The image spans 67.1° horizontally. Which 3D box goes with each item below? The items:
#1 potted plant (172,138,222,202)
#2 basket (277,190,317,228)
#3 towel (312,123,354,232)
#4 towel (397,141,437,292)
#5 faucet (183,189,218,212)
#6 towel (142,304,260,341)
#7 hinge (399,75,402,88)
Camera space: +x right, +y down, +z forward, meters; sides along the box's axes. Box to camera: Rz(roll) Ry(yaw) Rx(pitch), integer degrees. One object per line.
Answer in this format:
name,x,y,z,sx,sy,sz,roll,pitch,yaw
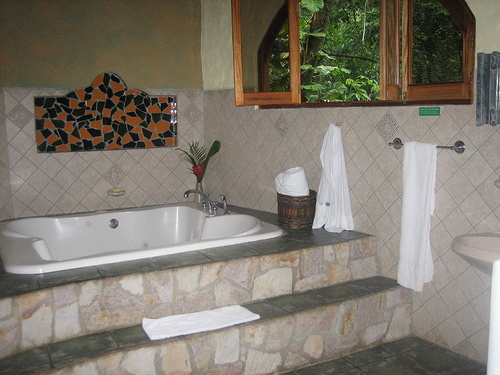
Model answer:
potted plant,-0.544,-0.210,4.152,0.415,0.641,0.588,-8,9,-35
basket,0.371,0.158,3.246,0.341,0.272,0.347,-5,9,-33
towel,0.651,-0.069,2.990,0.326,0.848,0.143,-1,7,9
towel,1.091,0.181,2.480,0.171,1.115,0.328,-5,8,-36
faucet,-0.509,0.100,3.685,0.151,0.196,0.514,-5,11,-34
towel,-0.289,0.784,2.239,0.671,0.046,0.269,-5,8,-21
hinge,0.903,-0.632,2.253,0.013,0.073,0.031,-1,7,10
